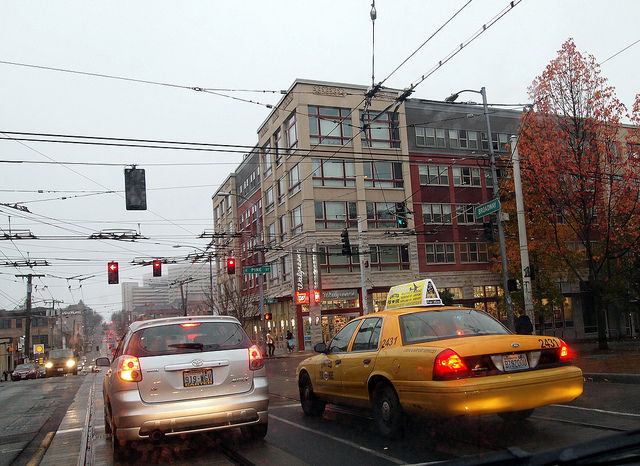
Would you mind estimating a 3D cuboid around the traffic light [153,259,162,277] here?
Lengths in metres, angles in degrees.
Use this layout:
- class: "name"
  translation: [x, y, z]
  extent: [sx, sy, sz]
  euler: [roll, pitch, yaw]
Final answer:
- class: "traffic light"
  translation: [-9.763, 2.051, 32.240]
  extent: [0.430, 0.902, 1.045]
  euler: [-2, -4, -22]

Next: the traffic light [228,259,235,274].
- class: "traffic light"
  translation: [-5.459, 1.980, 32.786]
  extent: [0.349, 0.776, 0.698]
  euler: [-3, -4, -4]

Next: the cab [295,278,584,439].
- class: "cab"
  translation: [1.659, 2.324, 10.534]
  extent: [2.863, 2.476, 6.297]
  euler: [2, -12, -24]

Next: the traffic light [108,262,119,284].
- class: "traffic light"
  translation: [-11.674, 2.255, 30.340]
  extent: [0.469, 1.121, 1.856]
  euler: [-2, -4, -19]

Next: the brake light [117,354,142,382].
- class: "brake light"
  translation: [-2.837, 2.012, 8.034]
  extent: [0.409, 0.368, 0.195]
  euler: [-6, -4, 27]

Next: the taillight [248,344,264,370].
- class: "taillight"
  translation: [-1.038, 1.994, 8.710]
  extent: [0.206, 0.365, 0.370]
  euler: [-4, -4, 14]
